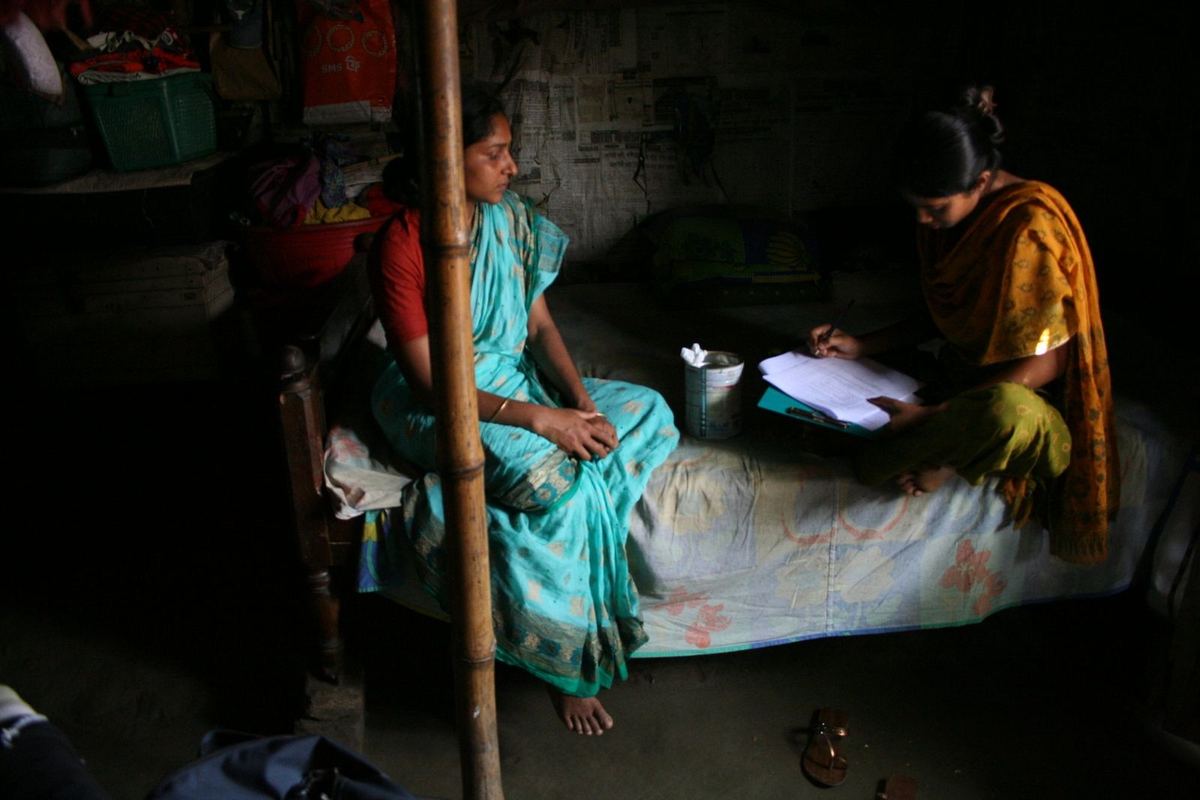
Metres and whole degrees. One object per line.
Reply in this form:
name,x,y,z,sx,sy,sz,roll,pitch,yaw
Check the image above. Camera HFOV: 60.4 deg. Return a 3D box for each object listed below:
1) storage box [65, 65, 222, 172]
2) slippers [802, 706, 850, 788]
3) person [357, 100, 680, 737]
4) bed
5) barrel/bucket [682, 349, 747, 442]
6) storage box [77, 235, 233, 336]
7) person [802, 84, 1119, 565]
storage box,-2.185,-1.373,5.022,0.583,0.401,0.434,-16,26,-24
slippers,0.771,1.199,3.548,0.128,0.067,0.227,4,40,12
person,-0.277,0.073,3.530,1.021,2.144,0.902,3,24,13
bed,0.548,0.389,3.650,2.302,0.586,1.335,3,48,-8
barrel/bucket,0.404,-0.008,3.695,0.178,0.278,0.197,6,39,12
storage box,-2.160,-0.525,5.002,0.501,0.305,0.490,-4,3,-2
person,1.346,-0.243,3.754,0.993,1.695,1.415,-7,28,6
